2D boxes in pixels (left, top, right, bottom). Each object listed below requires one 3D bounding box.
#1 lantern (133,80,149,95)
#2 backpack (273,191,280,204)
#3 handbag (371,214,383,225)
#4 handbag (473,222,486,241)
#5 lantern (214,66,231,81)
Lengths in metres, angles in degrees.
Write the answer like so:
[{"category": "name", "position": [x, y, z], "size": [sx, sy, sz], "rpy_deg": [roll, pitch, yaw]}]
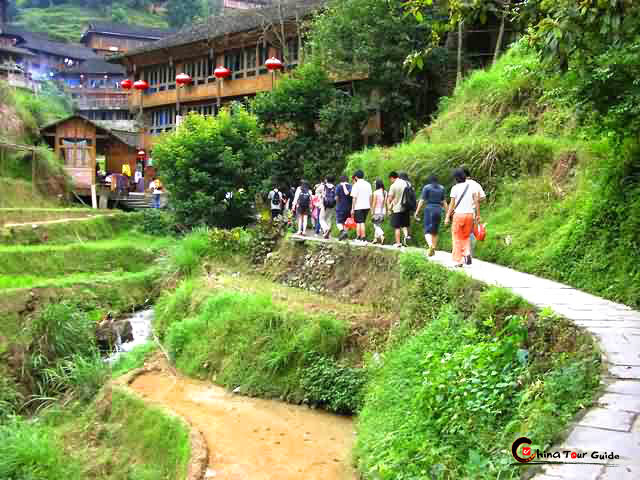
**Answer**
[{"category": "lantern", "position": [-10.260, -8.785, 41.982], "size": [0.823, 0.693, 0.890], "rpy_deg": [-3, 4, 23]}, {"category": "backpack", "position": [-1.382, -1.345, 23.530], "size": [0.205, 0.353, 0.313], "rpy_deg": [1, 4, -2]}, {"category": "handbag", "position": [1.507, -0.536, 18.993], "size": [0.234, 0.264, 0.246], "rpy_deg": [12, 31, 16]}, {"category": "handbag", "position": [3.401, -0.189, 15.712], "size": [0.255, 0.436, 0.441], "rpy_deg": [1, 11, 11]}, {"category": "lantern", "position": [-4.918, -8.155, 36.735], "size": [0.850, 0.787, 0.974], "rpy_deg": [0, 43, -4]}]
